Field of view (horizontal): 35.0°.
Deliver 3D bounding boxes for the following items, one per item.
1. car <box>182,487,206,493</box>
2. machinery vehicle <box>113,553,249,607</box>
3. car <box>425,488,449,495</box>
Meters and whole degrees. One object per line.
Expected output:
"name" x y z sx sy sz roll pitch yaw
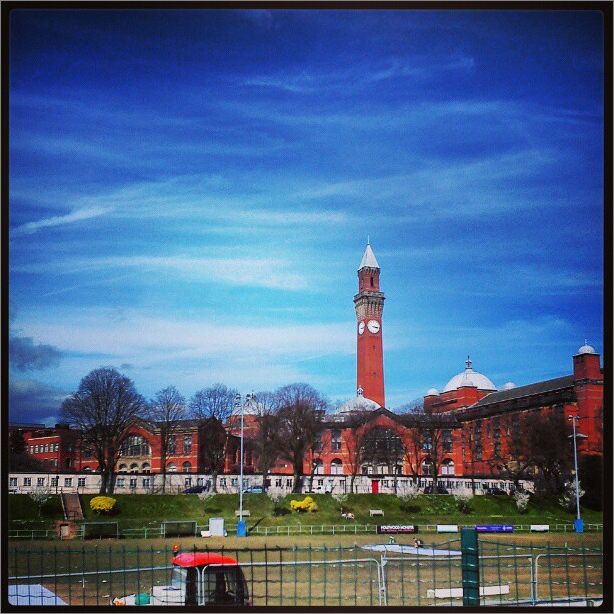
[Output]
"car" -9.632 15.790 84.017 2.015 0.704 3.850 0 -13 -7
"machinery vehicle" -3.502 7.814 27.735 3.685 1.843 2.224 0 -7 -22
"car" 12.115 17.166 90.876 1.596 0.856 0.957 -4 -4 -8
